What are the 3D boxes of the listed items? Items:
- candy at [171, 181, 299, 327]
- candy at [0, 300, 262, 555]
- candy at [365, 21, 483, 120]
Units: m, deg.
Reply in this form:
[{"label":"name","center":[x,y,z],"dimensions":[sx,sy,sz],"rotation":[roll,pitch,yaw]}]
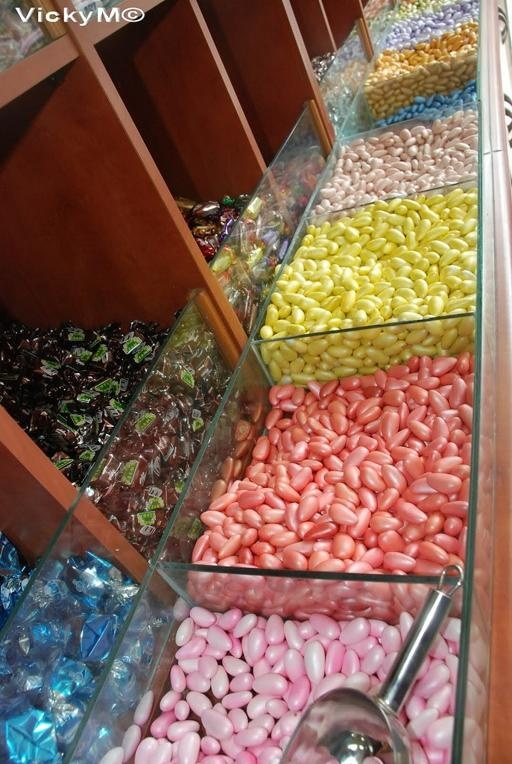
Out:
[{"label":"candy","center":[-0.046,-0.342,1.462],"dimensions":[0.260,0.347,0.483],"rotation":[-13,59,21]},{"label":"candy","center":[-0.213,0.126,1.174],"dimensions":[0.506,0.488,0.304],"rotation":[-50,1,-23]},{"label":"candy","center":[0.837,-1.516,2.501],"dimensions":[0.467,0.212,0.672],"rotation":[-4,35,37]}]
